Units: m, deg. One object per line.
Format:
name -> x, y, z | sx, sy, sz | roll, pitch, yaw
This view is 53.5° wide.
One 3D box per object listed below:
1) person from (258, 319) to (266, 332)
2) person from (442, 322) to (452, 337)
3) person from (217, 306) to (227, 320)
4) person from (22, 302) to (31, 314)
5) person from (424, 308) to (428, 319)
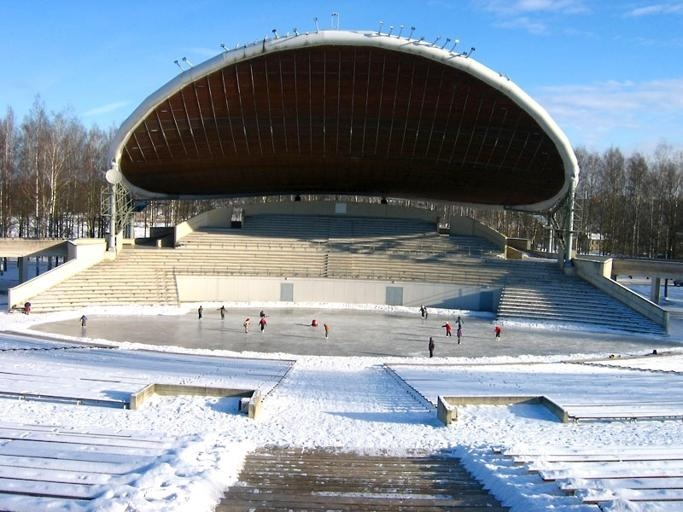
person -> -4.725, 4.144, 40.353 | 0.642, 0.389, 1.088 | -3, -37, -7
person -> 6.458, 4.499, 41.386 | 0.742, 0.810, 0.285 | 4, 41, 12
person -> -8.045, 3.814, 45.439 | 0.712, 0.924, 0.237 | 0, -23, -5
person -> -19.616, 3.164, 42.092 | 0.462, 0.752, 1.188 | -2, 7, -26
person -> 5.945, 4.041, 47.193 | 0.261, 0.905, 0.217 | 9, -9, -40
